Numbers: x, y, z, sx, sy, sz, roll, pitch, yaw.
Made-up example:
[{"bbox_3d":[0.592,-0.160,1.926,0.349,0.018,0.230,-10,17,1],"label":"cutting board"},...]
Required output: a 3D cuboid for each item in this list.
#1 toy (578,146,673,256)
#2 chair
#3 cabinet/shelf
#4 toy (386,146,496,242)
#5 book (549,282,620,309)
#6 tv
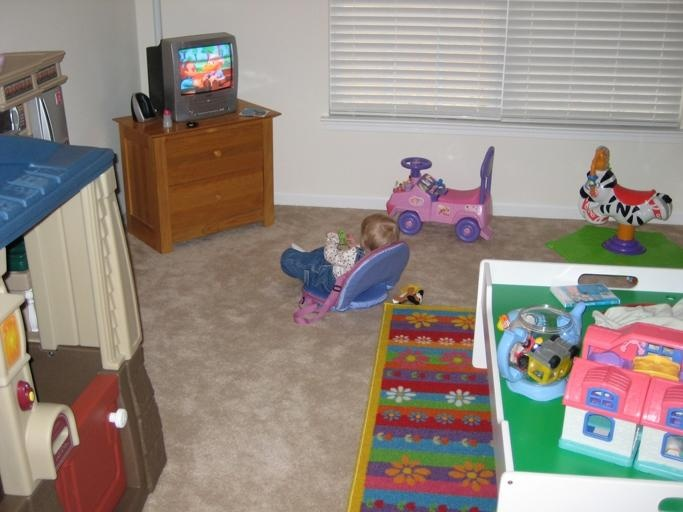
[{"bbox_3d":[2.003,-0.384,4.004,0.287,0.699,0.637,-22,24,-35],"label":"toy"},{"bbox_3d":[0.117,0.095,3.392,0.577,0.388,0.528,-4,21,-4],"label":"chair"},{"bbox_3d":[-1.072,-0.604,4.313,0.629,0.837,1.019,22,31,37],"label":"cabinet/shelf"},{"bbox_3d":[0.733,-0.482,4.374,0.758,0.574,0.419,7,25,11],"label":"toy"},{"bbox_3d":[1.027,0.169,2.423,0.147,0.031,0.151,-2,20,-2],"label":"book"},{"bbox_3d":[-1.103,-1.323,4.143,0.492,0.520,0.530,27,36,35],"label":"tv"}]
